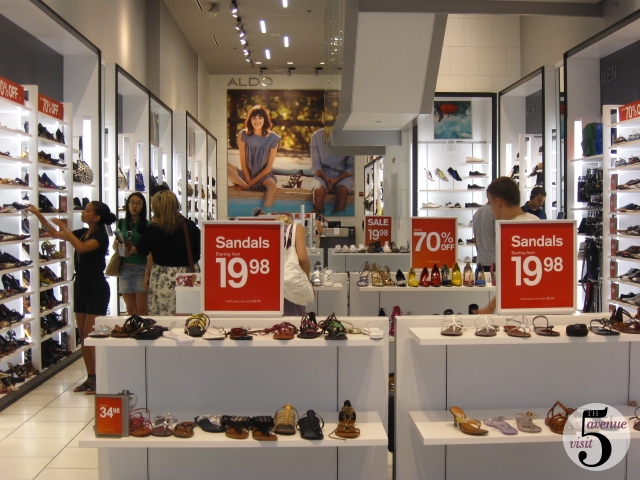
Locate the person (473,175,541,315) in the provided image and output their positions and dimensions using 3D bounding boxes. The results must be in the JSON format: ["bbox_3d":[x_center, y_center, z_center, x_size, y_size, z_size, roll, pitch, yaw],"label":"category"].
[{"bbox_3d":[1.414,0.029,4.207,0.416,1.015,0.728,-1,0,22],"label":"person"}]

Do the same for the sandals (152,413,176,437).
[{"bbox_3d":[-1.012,1.196,3.590,0.113,0.092,0.090,12,-13,-28],"label":"sandals"}]

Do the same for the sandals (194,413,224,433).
[{"bbox_3d":[-0.722,1.184,3.608,0.121,0.051,0.098,11,11,-5],"label":"sandals"}]

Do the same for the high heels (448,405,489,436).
[{"bbox_3d":[0.948,1.163,3.630,0.175,0.164,0.315,-2,1,-16],"label":"high heels"}]

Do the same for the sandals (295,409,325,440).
[{"bbox_3d":[-0.067,1.179,3.555,0.165,0.179,0.148,-1,0,-7],"label":"sandals"}]

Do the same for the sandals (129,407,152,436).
[{"bbox_3d":[-1.172,1.192,3.640,0.108,0.165,0.157,2,-9,-9],"label":"sandals"}]

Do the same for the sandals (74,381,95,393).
[{"bbox_3d":[-2.422,1.517,5.747,0.278,0.132,0.108,4,-7,-5],"label":"sandals"}]

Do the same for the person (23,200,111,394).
[{"bbox_3d":[-2.427,0.582,5.715,0.754,1.988,0.528,-1,0,35],"label":"person"}]

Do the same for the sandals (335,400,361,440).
[{"bbox_3d":[0.170,1.152,3.631,0.157,0.224,0.289,-1,1,2],"label":"sandals"}]

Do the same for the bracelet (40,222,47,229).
[{"bbox_3d":[-2.932,-0.157,5.876,0.060,0.067,0.064,-2,-4,27],"label":"bracelet"}]

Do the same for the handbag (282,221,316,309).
[{"bbox_3d":[-0.201,0.250,4.747,0.239,0.796,0.465,-1,0,-4],"label":"handbag"}]

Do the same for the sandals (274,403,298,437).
[{"bbox_3d":[-0.227,1.157,3.656,0.149,0.098,0.249,1,7,0],"label":"sandals"}]

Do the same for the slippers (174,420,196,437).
[{"bbox_3d":[-0.881,1.199,3.555,0.087,0.062,0.076,5,-8,-5],"label":"slippers"}]
